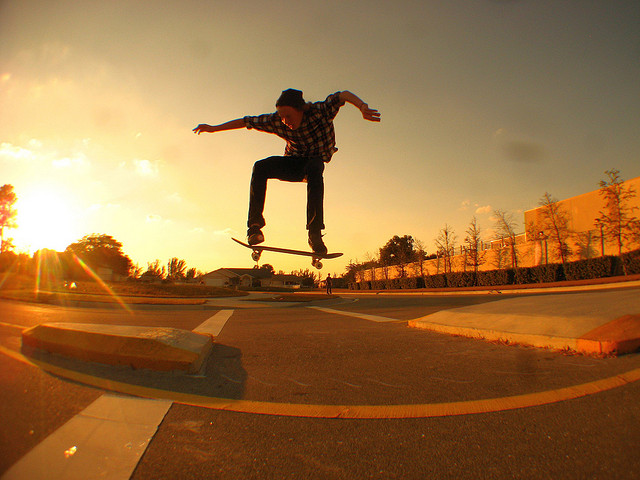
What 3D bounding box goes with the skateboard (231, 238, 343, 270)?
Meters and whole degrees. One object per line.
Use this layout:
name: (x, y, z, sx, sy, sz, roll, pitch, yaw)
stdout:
skateboard: (-0.302, 0.114, 4.871, 1.231, 0.207, 0.255, 8, -2, 0)
